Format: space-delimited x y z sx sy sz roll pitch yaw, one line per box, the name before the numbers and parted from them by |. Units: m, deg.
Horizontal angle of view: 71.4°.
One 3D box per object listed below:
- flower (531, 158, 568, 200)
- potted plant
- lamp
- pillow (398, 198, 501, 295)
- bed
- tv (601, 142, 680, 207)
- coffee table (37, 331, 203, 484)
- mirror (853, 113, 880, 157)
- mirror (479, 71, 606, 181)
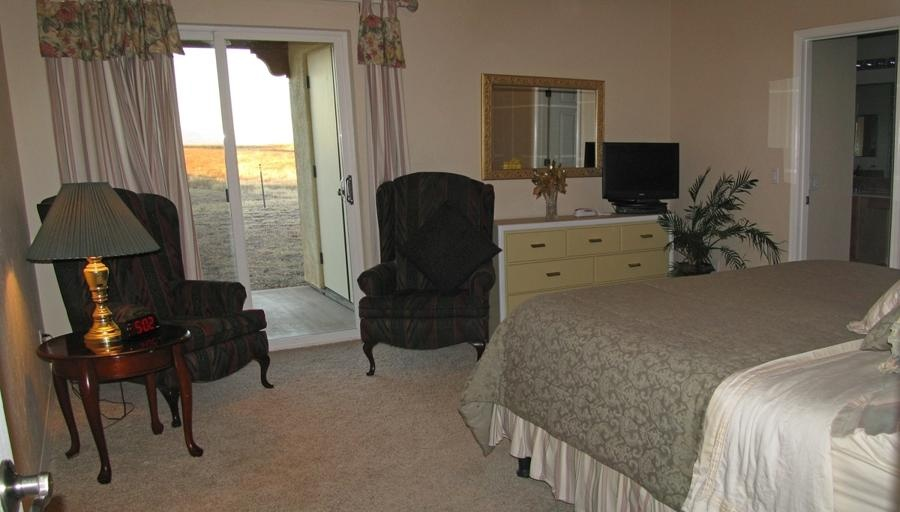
flower | 1.179 -0.877 7.230 0.541 0.455 0.277 -9 14 -25
potted plant | 3.024 -0.377 7.526 1.507 1.406 1.283 -3 6 -21
lamp | -2.663 0.054 4.717 0.864 1.186 0.343 -8 14 -19
pillow | -0.029 -0.078 6.237 0.859 0.865 0.232 -47 -6 -10
bed | 1.625 0.858 4.499 2.777 1.127 1.527 -8 13 -23
tv | 2.218 -0.956 7.316 0.819 0.552 0.224 0 7 -5
coffee table | -2.590 1.162 5.032 1.072 0.969 1.048 -6 5 0
mirror | 5.972 -1.712 8.981 0.274 0.605 0.195 5 15 31
mirror | 1.071 -1.480 7.304 1.750 1.215 0.059 -7 13 -29
